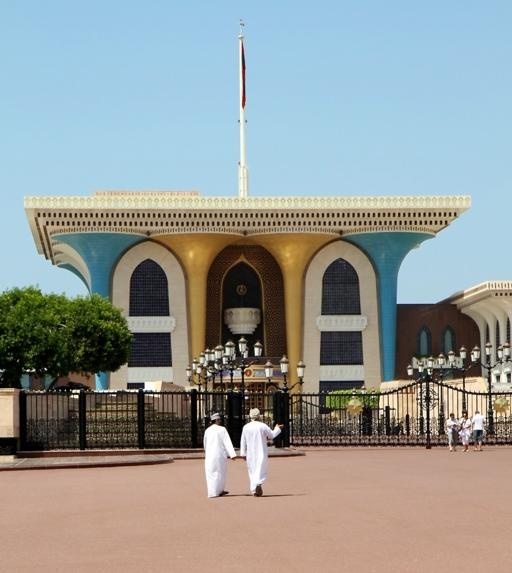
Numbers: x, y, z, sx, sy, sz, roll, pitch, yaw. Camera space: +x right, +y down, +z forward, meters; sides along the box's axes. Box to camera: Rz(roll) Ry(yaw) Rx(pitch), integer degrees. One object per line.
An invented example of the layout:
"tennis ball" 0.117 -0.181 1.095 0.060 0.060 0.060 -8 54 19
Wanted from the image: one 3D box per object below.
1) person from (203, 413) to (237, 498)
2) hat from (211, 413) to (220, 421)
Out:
"person" -0.523 2.540 20.346 0.475 1.310 1.481 0 -9 -2
"hat" -0.586 1.982 20.408 0.101 0.061 0.150 2 -7 12
